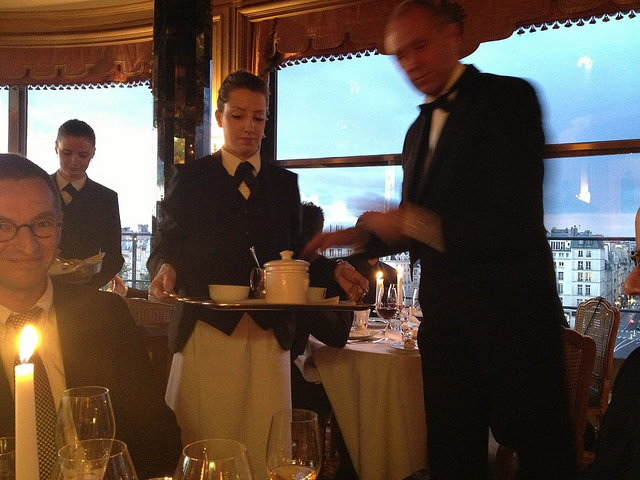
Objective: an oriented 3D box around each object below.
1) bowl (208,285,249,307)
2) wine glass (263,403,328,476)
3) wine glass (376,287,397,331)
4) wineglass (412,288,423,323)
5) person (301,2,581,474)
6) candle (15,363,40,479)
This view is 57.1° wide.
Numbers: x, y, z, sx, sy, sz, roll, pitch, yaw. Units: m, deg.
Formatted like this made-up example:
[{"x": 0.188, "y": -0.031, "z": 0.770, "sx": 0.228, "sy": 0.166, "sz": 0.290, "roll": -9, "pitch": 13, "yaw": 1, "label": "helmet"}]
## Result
[{"x": -0.358, "y": 0.217, "z": 2.365, "sx": 0.139, "sy": 0.051, "sz": 0.152, "roll": 2, "pitch": 1, "yaw": 0, "label": "bowl"}, {"x": -0.074, "y": 0.561, "z": 1.653, "sx": 0.150, "sy": 0.128, "sz": 0.159, "roll": 2, "pitch": 1, "yaw": -7, "label": "wine glass"}, {"x": 0.401, "y": 0.416, "z": 3.538, "sx": 0.136, "sy": 0.310, "sz": 0.139, "roll": 2, "pitch": 8, "yaw": 25, "label": "wine glass"}, {"x": 0.563, "y": 0.387, "z": 3.437, "sx": 0.081, "sy": 0.083, "sz": 0.350, "roll": 7, "pitch": 13, "yaw": 9, "label": "wineglass"}, {"x": 0.535, "y": -0.002, "z": 2.054, "sx": 0.697, "sy": 1.461, "sz": 0.192, "roll": 3, "pitch": 1, "yaw": 29, "label": "person"}, {"x": -0.641, "y": 0.383, "z": 1.290, "sx": 0.049, "sy": 0.235, "sz": 0.141, "roll": 1, "pitch": 1, "yaw": -27, "label": "candle"}]
